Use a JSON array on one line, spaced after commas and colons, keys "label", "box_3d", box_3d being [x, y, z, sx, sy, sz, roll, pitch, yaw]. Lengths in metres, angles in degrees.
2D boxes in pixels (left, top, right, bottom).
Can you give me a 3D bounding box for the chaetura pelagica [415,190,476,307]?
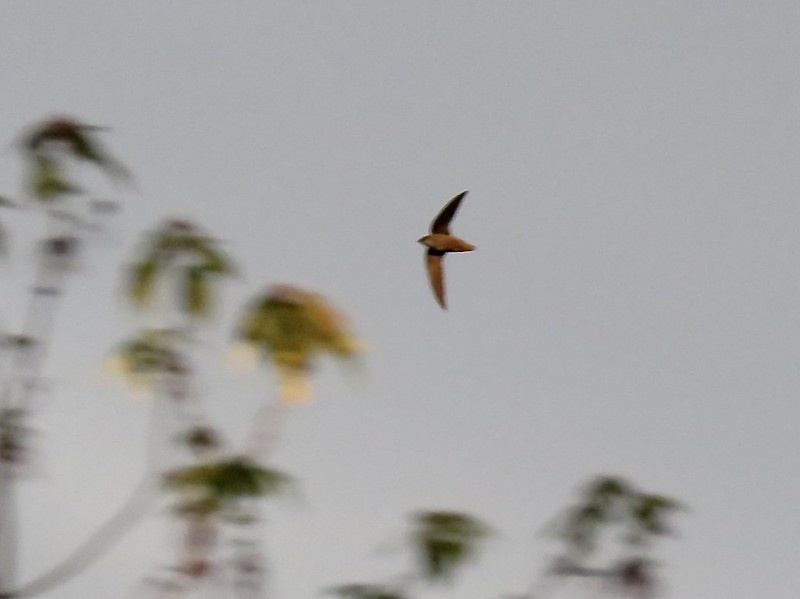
[{"label": "chaetura pelagica", "box_3d": [0.071, -0.083, 3.172, 0.084, 0.189, 0.037, -5, 14, -20]}]
